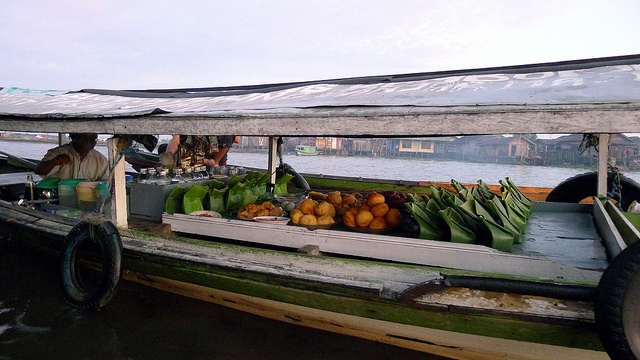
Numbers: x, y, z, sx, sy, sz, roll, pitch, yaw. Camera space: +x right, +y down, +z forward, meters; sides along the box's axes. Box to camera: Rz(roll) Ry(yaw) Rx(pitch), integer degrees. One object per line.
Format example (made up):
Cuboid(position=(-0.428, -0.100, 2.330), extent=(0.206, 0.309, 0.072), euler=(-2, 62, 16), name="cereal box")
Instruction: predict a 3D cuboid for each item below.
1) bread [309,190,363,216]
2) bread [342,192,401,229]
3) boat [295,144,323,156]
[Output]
Cuboid(position=(0.210, 0.332, 4.897), extent=(0.692, 0.311, 0.213), euler=(-1, 1, 6), name="bread")
Cuboid(position=(0.668, 0.375, 4.502), extent=(0.567, 0.429, 0.443), euler=(0, 0, -9), name="bread")
Cuboid(position=(-1.701, -5.894, 70.490), extent=(7.464, 2.062, 1.740), euler=(1, -6, -45), name="boat")
